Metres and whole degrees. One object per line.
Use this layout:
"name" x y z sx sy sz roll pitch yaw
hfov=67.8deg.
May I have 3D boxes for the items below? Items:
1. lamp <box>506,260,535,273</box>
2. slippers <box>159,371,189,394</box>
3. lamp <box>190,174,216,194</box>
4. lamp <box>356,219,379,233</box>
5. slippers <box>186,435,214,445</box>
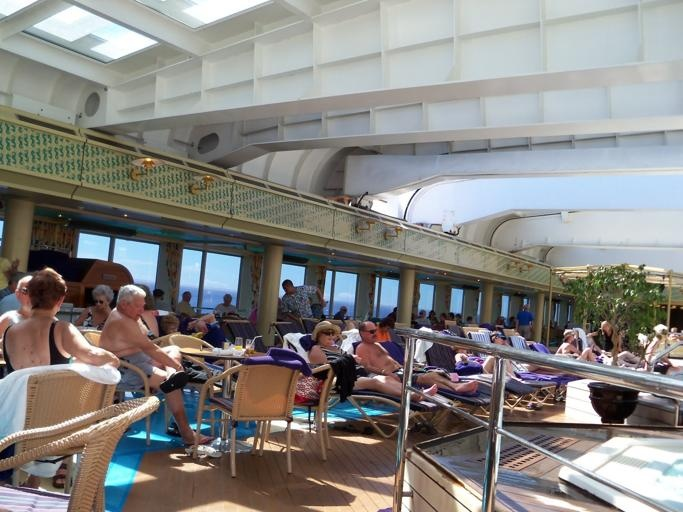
"lamp" 9.045 0.541 25.639 0.530 0.564 2.463 4 0 36
"slippers" -1.780 1.321 5.430 0.318 0.164 0.170 -28 28 -18
"lamp" -3.260 -1.673 12.036 0.390 0.480 0.660 4 0 36
"lamp" 0.785 -0.966 16.774 0.617 0.287 0.379 0 2 -3
"slippers" -1.634 2.038 5.711 0.323 0.103 0.168 -4 -3 -3
